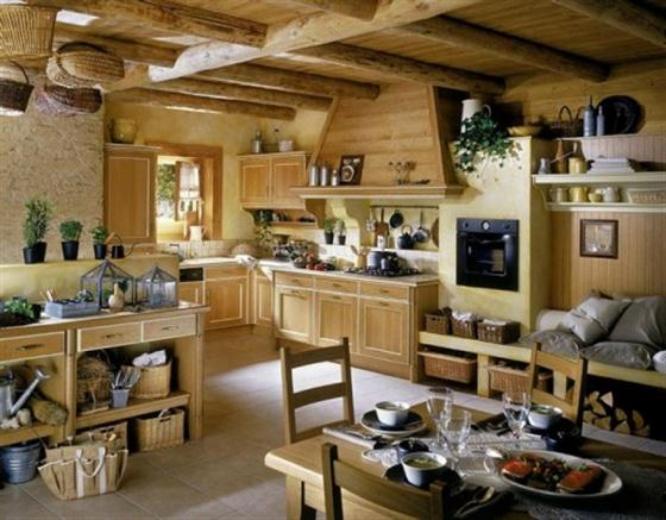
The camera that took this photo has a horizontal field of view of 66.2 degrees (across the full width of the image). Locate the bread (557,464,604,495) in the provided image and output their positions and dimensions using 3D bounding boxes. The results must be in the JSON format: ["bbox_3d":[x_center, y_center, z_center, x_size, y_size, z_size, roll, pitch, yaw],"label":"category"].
[{"bbox_3d":[0.843,0.748,1.732,0.064,0.032,0.173,10,9,36],"label":"bread"}]

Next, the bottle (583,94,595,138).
[{"bbox_3d":[2.597,-1.434,5.126,0.131,0.405,0.300,5,7,24],"label":"bottle"}]

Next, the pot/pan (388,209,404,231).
[{"bbox_3d":[0.840,-0.519,6.713,0.063,0.251,0.218,-4,8,-41],"label":"pot/pan"}]

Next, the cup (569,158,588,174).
[{"bbox_3d":[2.419,-0.926,5.052,0.241,0.119,0.126,1,0,-21],"label":"cup"}]

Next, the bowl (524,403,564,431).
[{"bbox_3d":[0.966,0.703,2.291,0.127,0.039,0.105,-2,3,-5],"label":"bowl"}]

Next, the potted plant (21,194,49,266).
[{"bbox_3d":[-2.310,-0.221,3.965,0.188,0.493,0.345,-1,7,-27],"label":"potted plant"}]

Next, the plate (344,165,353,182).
[{"bbox_3d":[0.194,-1.083,6.400,0.050,0.159,0.206,-7,9,-41],"label":"plate"}]

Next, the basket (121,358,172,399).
[{"bbox_3d":[-1.560,0.982,4.237,0.352,0.170,0.335,1,-2,-35],"label":"basket"}]

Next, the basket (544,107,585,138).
[{"bbox_3d":[2.461,-1.445,5.384,0.131,0.356,0.376,-3,7,-34],"label":"basket"}]

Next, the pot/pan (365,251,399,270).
[{"bbox_3d":[0.634,0.009,6.422,0.281,0.181,0.324,-1,4,-29],"label":"pot/pan"}]

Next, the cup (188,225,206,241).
[{"bbox_3d":[-2.126,-0.405,7.903,0.227,0.237,0.259,0,6,-12],"label":"cup"}]

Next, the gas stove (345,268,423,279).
[{"bbox_3d":[0.595,0.153,6.264,0.966,0.075,0.596,2,5,11],"label":"gas stove"}]

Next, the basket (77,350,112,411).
[{"bbox_3d":[-1.842,0.946,3.895,0.157,0.333,0.343,-2,-1,36],"label":"basket"}]

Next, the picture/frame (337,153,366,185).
[{"bbox_3d":[0.240,-1.127,6.393,0.544,0.467,0.064,3,-1,42],"label":"picture/frame"}]

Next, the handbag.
[{"bbox_3d":[-1.739,1.321,3.504,0.661,0.345,0.445,3,-10,-31],"label":"handbag"}]

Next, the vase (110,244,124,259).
[{"bbox_3d":[-1.809,-0.066,4.258,0.102,0.108,0.155,-1,6,-21],"label":"vase"}]

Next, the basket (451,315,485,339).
[{"bbox_3d":[1.512,0.737,5.587,0.288,0.234,0.426,2,-2,-39],"label":"basket"}]

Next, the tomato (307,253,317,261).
[{"bbox_3d":[-0.304,-0.036,7.252,0.068,0.102,0.168,-2,-15,-5],"label":"tomato"}]

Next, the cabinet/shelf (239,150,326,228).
[{"bbox_3d":[-0.709,-1.099,7.835,0.656,0.971,1.830,-4,9,-36],"label":"cabinet/shelf"}]

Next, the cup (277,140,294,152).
[{"bbox_3d":[-0.707,-1.715,7.725,0.249,0.126,0.183,-5,6,-43],"label":"cup"}]

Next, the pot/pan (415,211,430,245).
[{"bbox_3d":[1.136,-0.402,6.494,0.064,0.321,0.318,2,-2,-39],"label":"pot/pan"}]

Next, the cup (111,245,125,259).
[{"bbox_3d":[-1.809,-0.066,4.258,0.102,0.108,0.155,-1,6,-21],"label":"cup"}]

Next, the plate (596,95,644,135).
[{"bbox_3d":[2.865,-1.432,5.036,0.489,0.373,0.096,11,16,41],"label":"plate"}]

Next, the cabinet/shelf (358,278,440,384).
[{"bbox_3d":[0.709,0.793,5.911,0.895,1.119,0.439,2,7,6],"label":"cabinet/shelf"}]

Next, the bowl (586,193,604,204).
[{"bbox_3d":[2.616,-0.604,5.068,0.127,0.065,0.116,-1,0,31],"label":"bowl"}]

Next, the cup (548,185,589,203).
[{"bbox_3d":[2.449,-0.664,5.263,0.135,0.171,0.365,-4,7,-41],"label":"cup"}]

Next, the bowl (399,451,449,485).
[{"bbox_3d":[0.317,0.718,1.745,0.146,0.049,0.142,-2,4,0],"label":"bowl"}]

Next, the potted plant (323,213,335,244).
[{"bbox_3d":[-0.048,-0.407,7.338,0.157,0.391,0.186,4,7,14],"label":"potted plant"}]

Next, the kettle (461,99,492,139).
[{"bbox_3d":[1.572,-1.572,5.578,0.311,0.427,0.511,3,6,12],"label":"kettle"}]

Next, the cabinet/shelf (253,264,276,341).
[{"bbox_3d":[-1.088,0.618,7.693,0.131,1.094,0.388,-3,8,-37],"label":"cabinet/shelf"}]

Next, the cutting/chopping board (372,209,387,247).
[{"bbox_3d":[0.639,-0.426,6.851,0.220,0.514,0.102,8,9,44],"label":"cutting/chopping board"}]

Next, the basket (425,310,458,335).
[{"bbox_3d":[1.199,0.698,5.676,0.324,0.152,0.305,1,-1,-35],"label":"basket"}]

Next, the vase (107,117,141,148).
[{"bbox_3d":[-2.817,-1.682,6.697,0.381,0.381,0.248,5,7,29],"label":"vase"}]

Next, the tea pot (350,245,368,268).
[{"bbox_3d":[0.354,-0.049,6.918,0.225,0.277,0.340,2,6,2],"label":"tea pot"}]

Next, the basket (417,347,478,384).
[{"bbox_3d":[1.283,1.187,5.698,0.603,0.220,0.413,1,0,40],"label":"basket"}]

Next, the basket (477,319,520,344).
[{"bbox_3d":[1.754,0.757,5.383,0.360,0.210,0.288,5,7,36],"label":"basket"}]

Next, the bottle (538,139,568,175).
[{"bbox_3d":[2.312,-1.053,5.273,0.312,0.366,0.395,4,7,22],"label":"bottle"}]

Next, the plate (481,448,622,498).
[{"bbox_3d":[0.748,0.753,1.778,0.225,0.024,0.188,4,5,37],"label":"plate"}]

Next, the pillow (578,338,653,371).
[{"bbox_3d":[2.482,0.817,4.437,0.450,0.100,0.404,2,2,40],"label":"pillow"}]

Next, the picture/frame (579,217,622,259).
[{"bbox_3d":[2.756,-0.226,5.206,0.566,0.498,0.056,2,2,45],"label":"picture/frame"}]

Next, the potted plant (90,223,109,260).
[{"bbox_3d":[-1.929,-0.138,4.214,0.120,0.258,0.271,-1,6,-23],"label":"potted plant"}]

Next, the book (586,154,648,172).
[{"bbox_3d":[2.720,-0.923,4.914,0.531,0.195,0.350,4,6,32],"label":"book"}]

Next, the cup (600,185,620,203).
[{"bbox_3d":[2.735,-0.635,5.010,0.177,0.156,0.096,5,7,27],"label":"cup"}]

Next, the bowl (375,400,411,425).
[{"bbox_3d":[0.274,0.696,2.326,0.131,0.044,0.108,0,-3,5],"label":"bowl"}]

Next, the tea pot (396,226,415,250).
[{"bbox_3d":[0.933,-0.276,6.623,0.243,0.300,0.105,6,8,34],"label":"tea pot"}]

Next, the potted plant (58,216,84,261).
[{"bbox_3d":[-2.172,-0.166,4.215,0.153,0.314,0.464,-1,6,-26],"label":"potted plant"}]

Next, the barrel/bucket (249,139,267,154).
[{"bbox_3d":[-1.184,-1.771,8.078,0.308,0.238,0.263,0,3,8],"label":"barrel/bucket"}]

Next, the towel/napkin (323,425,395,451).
[{"bbox_3d":[0.124,0.776,2.220,0.175,0.020,0.101,1,3,45],"label":"towel/napkin"}]

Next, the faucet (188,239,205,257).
[{"bbox_3d":[-2.122,-0.179,7.828,0.369,0.250,0.116,1,-3,-42],"label":"faucet"}]
